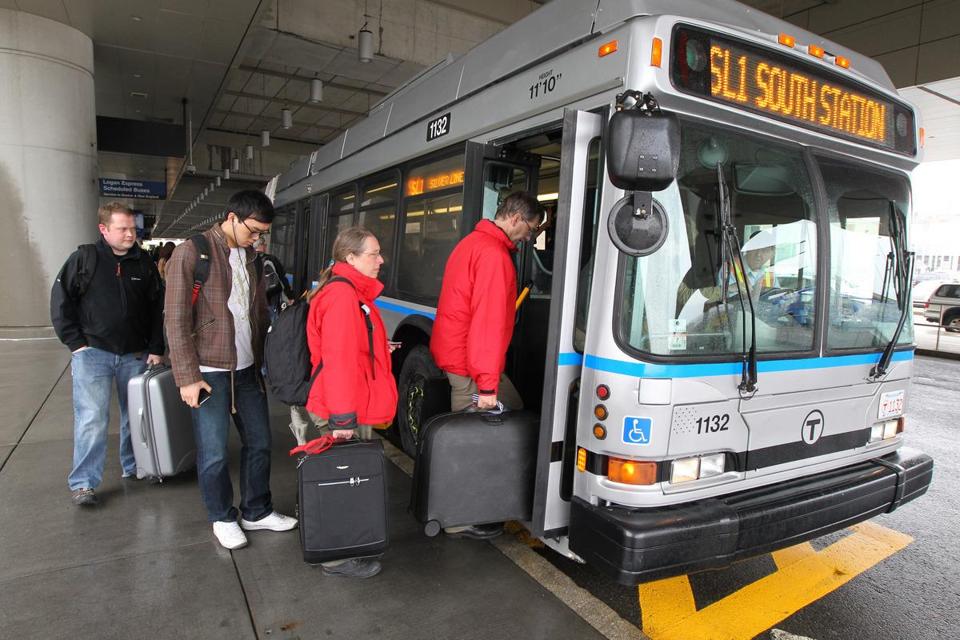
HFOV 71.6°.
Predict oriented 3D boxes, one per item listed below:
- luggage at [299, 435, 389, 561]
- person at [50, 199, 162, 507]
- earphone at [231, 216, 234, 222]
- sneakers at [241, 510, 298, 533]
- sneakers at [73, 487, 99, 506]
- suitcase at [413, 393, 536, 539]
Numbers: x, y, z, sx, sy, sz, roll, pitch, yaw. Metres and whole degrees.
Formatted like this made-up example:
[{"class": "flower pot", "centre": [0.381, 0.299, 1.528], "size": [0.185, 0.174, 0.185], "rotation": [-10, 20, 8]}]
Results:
[{"class": "luggage", "centre": [-1.128, 1.416, 5.536], "size": [0.729, 1.016, 0.564], "rotation": [-2, 20, -15]}, {"class": "person", "centre": [-3.577, 0.477, 6.451], "size": [0.924, 2.535, 0.341], "rotation": [-4, 7, -34]}, {"class": "earphone", "centre": [-2.126, -0.865, 5.703], "size": [0.011, 0.010, 0.049], "rotation": [4, -33, -45]}, {"class": "sneakers", "centre": [-1.889, 1.836, 6.118], "size": [0.552, 0.211, 0.226], "rotation": [-1, -2, -10]}, {"class": "sneakers", "centre": [-3.755, 1.689, 6.332], "size": [0.260, 0.112, 0.120], "rotation": [7, -1, 42]}, {"class": "suitcase", "centre": [-0.178, 1.095, 5.833], "size": [1.466, 1.187, 0.846], "rotation": [-1, 0, -10]}]
